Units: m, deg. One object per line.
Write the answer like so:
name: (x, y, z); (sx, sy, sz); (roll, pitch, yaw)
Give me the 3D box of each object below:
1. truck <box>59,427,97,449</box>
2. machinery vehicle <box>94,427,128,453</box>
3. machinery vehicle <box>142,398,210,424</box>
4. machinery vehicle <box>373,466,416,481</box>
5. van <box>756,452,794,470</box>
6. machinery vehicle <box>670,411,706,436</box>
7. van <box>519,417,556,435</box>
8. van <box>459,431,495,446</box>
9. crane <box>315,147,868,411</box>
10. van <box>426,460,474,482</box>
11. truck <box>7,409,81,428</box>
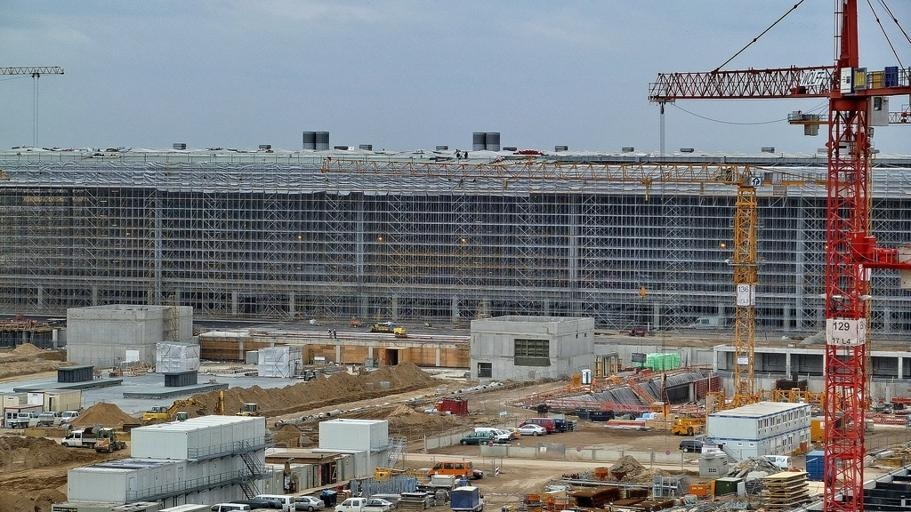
truck: (-31.998, 15.627, 189.839); (3.109, 1.187, 1.520); (1, 0, 11)
machinery vehicle: (-29.406, 15.911, 189.375); (1.851, 1.356, 2.560); (1, 4, 17)
machinery vehicle: (-24.992, 14.112, 196.598); (6.560, 2.076, 2.216); (-3, 6, -24)
machinery vehicle: (-4.726, 17.923, 181.697); (4.477, 1.274, 1.038); (-1, 5, -2)
van: (26.517, 17.209, 184.564); (2.313, 0.969, 1.434); (5, 4, 12)
machinery vehicle: (20.782, 15.217, 198.308); (2.137, 1.305, 3.088); (-1, -1, 14)
van: (7.439, 15.341, 197.878); (2.785, 0.891, 1.398); (2, 2, 19)
van: (1.813, 15.999, 193.173); (2.408, 0.925, 1.283); (3, -1, 13)
crane: (12.781, 2.749, 243.778); (66.530, 27.149, 3.400); (4, 4, 33)
van: (-0.334, 17.861, 183.099); (2.969, 1.147, 1.633); (1, 0, 6)
truck: (-36.968, 14.657, 197.600); (6.128, 1.428, 2.482); (-2, -4, -11)
